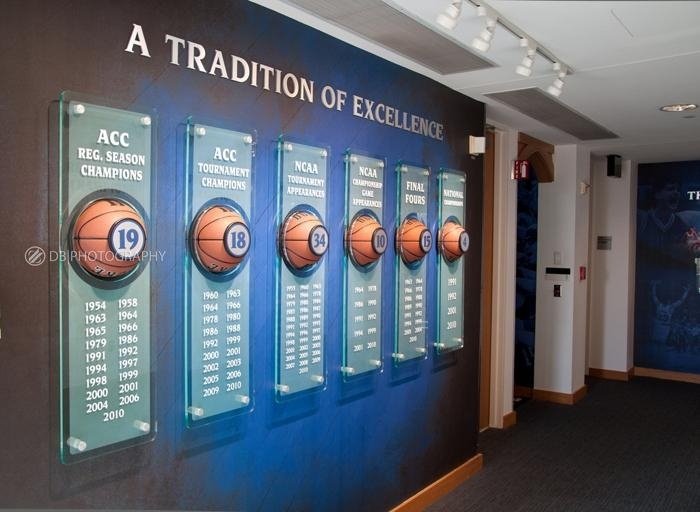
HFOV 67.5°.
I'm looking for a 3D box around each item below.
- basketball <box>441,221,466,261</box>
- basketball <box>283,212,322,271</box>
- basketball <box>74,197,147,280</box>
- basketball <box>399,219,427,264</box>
[{"bbox_3d":[0.741,-0.103,3.763,0.223,0.295,0.228,-2,4,-37],"label":"basketball"},{"bbox_3d":[-0.266,-0.080,2.763,0.237,0.328,0.257,1,5,-4],"label":"basketball"},{"bbox_3d":[-0.963,-0.091,2.222,0.267,0.389,0.310,6,5,35],"label":"basketball"},{"bbox_3d":[0.403,-0.095,3.444,0.230,0.300,0.240,4,5,31],"label":"basketball"}]
